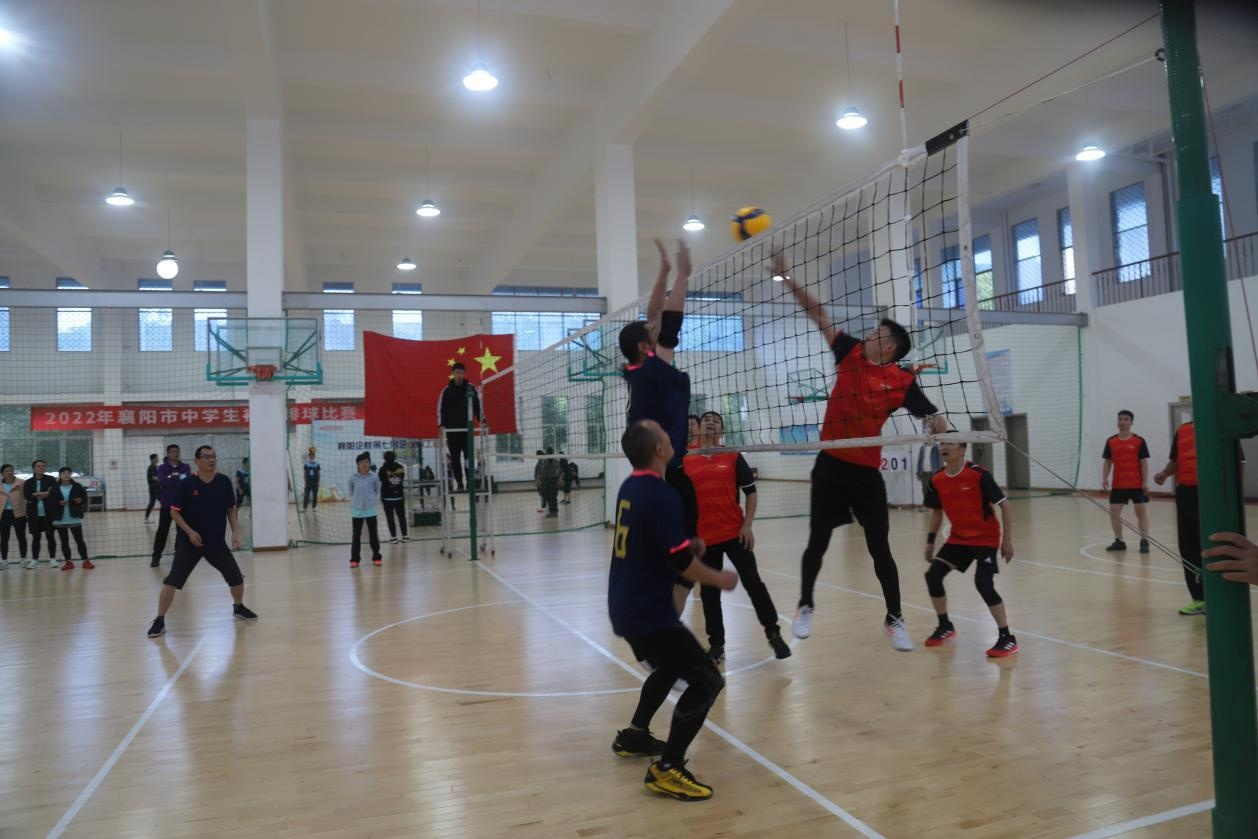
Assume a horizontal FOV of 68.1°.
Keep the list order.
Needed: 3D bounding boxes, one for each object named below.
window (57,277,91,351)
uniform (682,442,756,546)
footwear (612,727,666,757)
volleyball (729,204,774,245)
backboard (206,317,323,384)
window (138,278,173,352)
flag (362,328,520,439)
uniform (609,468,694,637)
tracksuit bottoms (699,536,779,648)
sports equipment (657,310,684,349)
[{"bbox_3d":[-14.075,-2.590,23.408,0.877,1.843,3.976,-10,15,-29],"label":"window"},{"bbox_3d":[0.794,0.684,8.315,0.998,0.904,0.498,0,-9,-13],"label":"uniform"},{"bbox_3d":[0.073,2.504,7.243,0.422,0.192,0.193,1,1,-6],"label":"footwear"},{"bbox_3d":[1.125,-1.735,8.316,0.316,0.293,0.512,-6,13,-16],"label":"volleyball"},{"bbox_3d":[-5.837,-1.085,15.275,1.811,1.019,1.024,1,-1,0],"label":"backboard"},{"bbox_3d":[-12.297,-2.309,24.105,0.730,0.093,1.635,2,45,-27],"label":"window"},{"bbox_3d":[-3.255,-0.555,16.040,2.396,1.661,0.112,-2,2,-9],"label":"flag"},{"bbox_3d":[0.174,0.989,6.848,0.630,1.199,0.432,0,14,10],"label":"uniform"},{"bbox_3d":[0.937,1.529,8.470,0.677,1.217,0.298,-15,25,-1],"label":"tracksuit bottoms"},{"bbox_3d":[0.350,-0.733,7.508,0.147,0.305,0.265,8,17,38],"label":"sports equipment"}]
